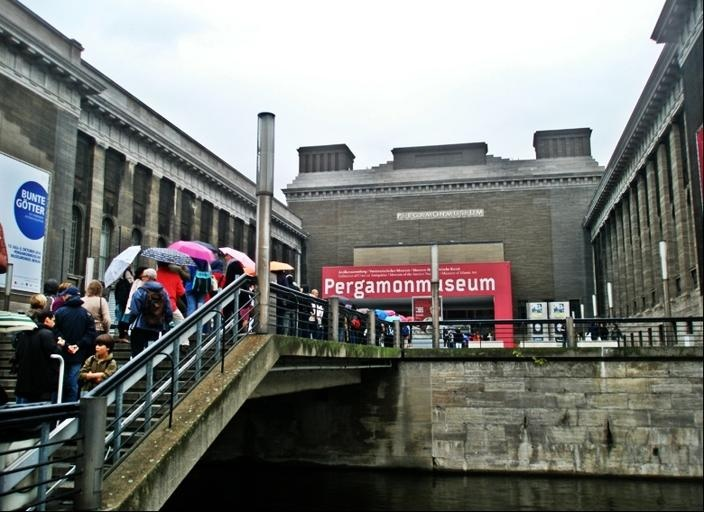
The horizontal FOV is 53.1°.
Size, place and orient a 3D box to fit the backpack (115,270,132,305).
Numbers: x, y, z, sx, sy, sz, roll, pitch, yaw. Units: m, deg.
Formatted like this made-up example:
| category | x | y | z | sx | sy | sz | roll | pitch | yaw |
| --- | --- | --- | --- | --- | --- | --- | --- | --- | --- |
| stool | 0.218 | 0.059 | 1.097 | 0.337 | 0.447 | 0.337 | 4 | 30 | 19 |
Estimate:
| category | x | y | z | sx | sy | sz | roll | pitch | yaw |
| --- | --- | --- | --- | --- | --- | --- | --- | --- | --- |
| backpack | -4.772 | 0.668 | 14.814 | 0.207 | 0.721 | 0.678 | 7 | -58 | -11 |

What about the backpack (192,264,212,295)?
| category | x | y | z | sx | sy | sz | roll | pitch | yaw |
| --- | --- | --- | --- | --- | --- | --- | --- | --- | --- |
| backpack | -3.233 | 0.577 | 15.187 | 0.363 | 0.596 | 0.580 | 8 | -13 | -20 |
